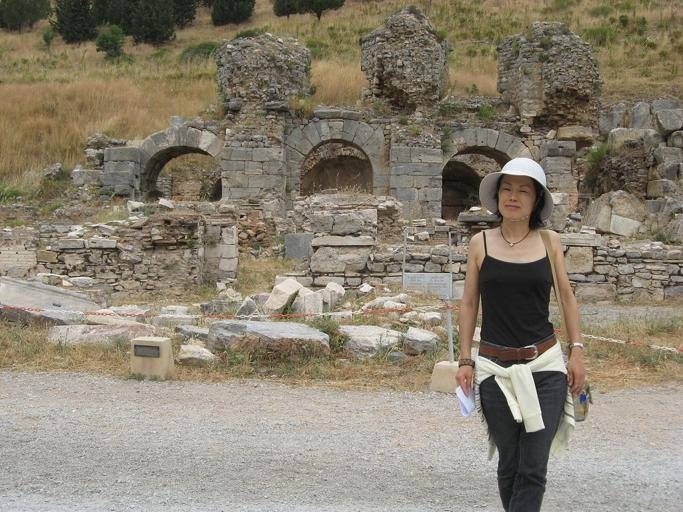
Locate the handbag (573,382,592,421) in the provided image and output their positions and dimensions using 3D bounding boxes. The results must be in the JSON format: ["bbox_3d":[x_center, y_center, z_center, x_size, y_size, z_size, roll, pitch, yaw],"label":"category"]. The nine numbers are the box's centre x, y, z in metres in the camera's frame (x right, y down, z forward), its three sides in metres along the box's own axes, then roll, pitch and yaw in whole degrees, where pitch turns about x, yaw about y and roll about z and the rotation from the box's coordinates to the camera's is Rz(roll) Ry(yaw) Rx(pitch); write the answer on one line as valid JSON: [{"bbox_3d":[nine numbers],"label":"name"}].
[{"bbox_3d":[5.579,3.373,26.634,0.302,0.794,0.530,13,-7,-28],"label":"handbag"}]

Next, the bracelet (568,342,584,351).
[{"bbox_3d":[5.368,2.072,26.688,0.246,0.167,0.254,-3,-13,-6],"label":"bracelet"}]
